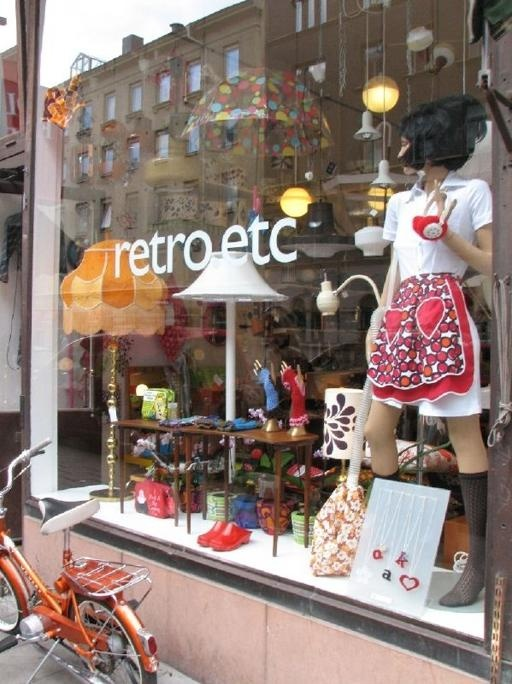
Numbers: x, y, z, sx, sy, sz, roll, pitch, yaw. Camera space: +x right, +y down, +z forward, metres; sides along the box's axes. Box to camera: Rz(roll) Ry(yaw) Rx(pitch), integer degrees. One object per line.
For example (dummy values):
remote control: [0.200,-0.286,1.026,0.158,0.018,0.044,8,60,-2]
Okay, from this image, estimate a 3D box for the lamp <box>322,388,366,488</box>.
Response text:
lamp: [0.377,0.398,2.635,0.192,0.398,0.180,2,-8,-17]

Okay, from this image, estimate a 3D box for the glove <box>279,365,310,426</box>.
glove: [0.166,0.227,2.971,0.145,0.283,0.082,-2,0,20]

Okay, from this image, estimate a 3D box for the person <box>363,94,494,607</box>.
person: [0.612,-0.006,2.208,0.290,1.553,0.547,-2,0,-32]

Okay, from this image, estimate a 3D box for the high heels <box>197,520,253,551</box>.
high heels: [-0.140,0.801,2.803,0.166,0.064,0.121,3,-6,-38]

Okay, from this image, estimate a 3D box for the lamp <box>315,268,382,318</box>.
lamp: [0.396,-0.208,2.825,0.268,0.185,0.086,3,24,18]

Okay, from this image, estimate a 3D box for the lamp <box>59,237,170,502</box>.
lamp: [-0.921,0.119,4.084,0.584,1.355,0.577,-3,0,-38]
